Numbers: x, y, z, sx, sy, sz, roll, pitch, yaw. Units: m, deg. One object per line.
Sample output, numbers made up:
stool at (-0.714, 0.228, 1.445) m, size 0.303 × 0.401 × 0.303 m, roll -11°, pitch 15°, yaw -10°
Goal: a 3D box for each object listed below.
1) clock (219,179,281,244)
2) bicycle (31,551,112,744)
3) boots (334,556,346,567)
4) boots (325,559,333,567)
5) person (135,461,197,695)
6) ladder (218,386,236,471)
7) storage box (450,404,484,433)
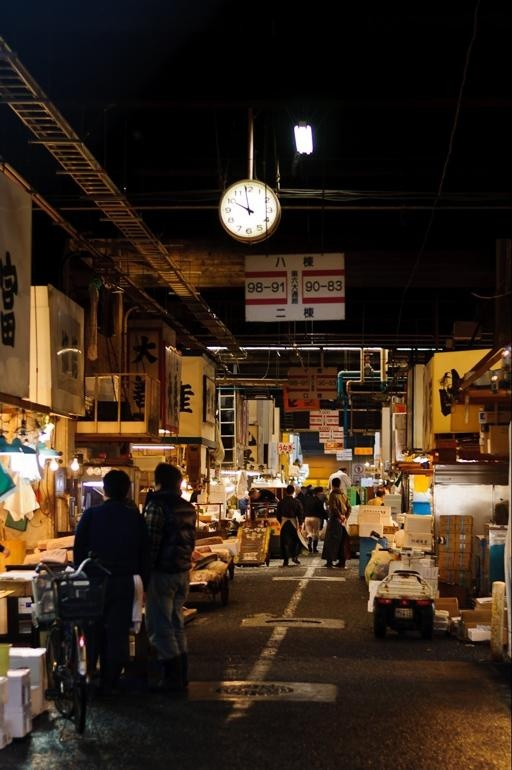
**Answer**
clock at (-0.082, -2.229, 10.538) m, size 0.703 × 0.835 × 0.159 m, roll 3°, pitch 1°, yaw 15°
bicycle at (-1.242, 1.744, 5.578) m, size 0.437 × 1.089 × 0.816 m, roll 5°, pitch -7°, yaw -36°
boots at (2.186, 4.625, 21.382) m, size 0.216 × 0.238 × 0.655 m, roll 0°, pitch -7°, yaw 2°
boots at (1.874, 4.601, 21.103) m, size 0.185 × 0.220 × 0.371 m, roll 1°, pitch -3°, yaw 1°
person at (-0.717, 1.555, 6.650) m, size 0.415 × 1.832 × 0.603 m, roll 1°, pitch -6°, yaw -5°
ladder at (-1.191, 1.541, 32.911) m, size 0.689 × 2.985 × 1.607 m, roll 1°, pitch -6°, yaw -3°
storage box at (3.882, 0.661, 15.594) m, size 0.683 × 0.733 × 0.184 m, roll 3°, pitch 1°, yaw 37°
